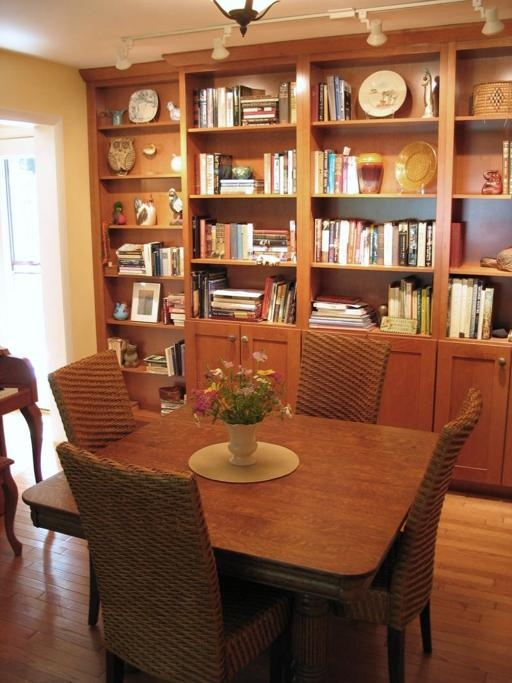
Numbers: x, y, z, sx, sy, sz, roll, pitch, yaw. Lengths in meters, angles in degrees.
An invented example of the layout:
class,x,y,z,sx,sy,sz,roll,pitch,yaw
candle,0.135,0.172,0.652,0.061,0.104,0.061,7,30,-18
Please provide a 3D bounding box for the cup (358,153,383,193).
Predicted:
class,x,y,z,sx,sy,sz,roll,pitch,yaw
cup,0.651,-0.968,3.330,0.134,0.232,0.100,1,9,9

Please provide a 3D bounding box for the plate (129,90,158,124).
class,x,y,z,sx,sy,sz,roll,pitch,yaw
plate,-0.776,-1.621,4.012,0.263,0.247,0.060,12,14,16

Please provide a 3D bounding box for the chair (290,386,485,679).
class,x,y,z,sx,sy,sz,roll,pitch,yaw
chair,0.435,0.575,1.656,0.319,0.813,0.342,5,11,29

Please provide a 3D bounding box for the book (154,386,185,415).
class,x,y,z,sx,sy,sz,roll,pitch,yaw
book,-0.610,0.413,4.154,0.229,0.258,0.224,-1,-4,20

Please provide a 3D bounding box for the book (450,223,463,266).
class,x,y,z,sx,sy,sz,roll,pitch,yaw
book,1.102,-0.540,3.200,0.080,0.222,0.239,2,11,22

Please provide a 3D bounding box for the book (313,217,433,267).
class,x,y,z,sx,sy,sz,roll,pitch,yaw
book,0.690,-0.582,3.417,0.725,0.281,0.106,5,11,31

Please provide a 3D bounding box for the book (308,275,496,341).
class,x,y,z,sx,sy,sz,roll,pitch,yaw
book,0.852,-0.212,3.428,1.017,0.334,0.231,4,10,25

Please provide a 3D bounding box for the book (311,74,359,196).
class,x,y,z,sx,sy,sz,roll,pitch,yaw
book,0.470,-1.212,3.415,0.272,0.696,0.266,0,9,2

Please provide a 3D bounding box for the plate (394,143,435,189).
class,x,y,z,sx,sy,sz,roll,pitch,yaw
plate,0.904,-0.988,3.295,0.045,0.259,0.260,-11,44,-41

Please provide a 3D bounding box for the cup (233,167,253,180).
class,x,y,z,sx,sy,sz,roll,pitch,yaw
cup,-0.093,-1.078,3.745,0.115,0.077,0.113,1,18,0
